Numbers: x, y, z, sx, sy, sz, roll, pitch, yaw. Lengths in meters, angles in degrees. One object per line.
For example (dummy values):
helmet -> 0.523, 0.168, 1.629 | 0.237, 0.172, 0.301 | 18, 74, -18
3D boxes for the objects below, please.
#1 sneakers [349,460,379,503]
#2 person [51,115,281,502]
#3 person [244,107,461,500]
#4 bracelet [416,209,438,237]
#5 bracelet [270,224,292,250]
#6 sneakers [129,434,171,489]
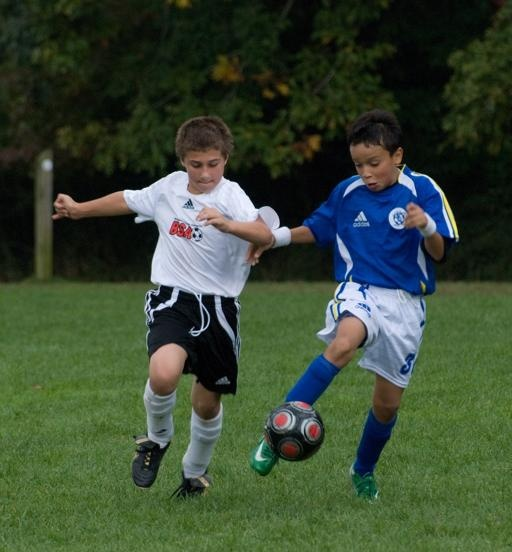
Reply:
sneakers -> 0.532, 1.013, 4.953 | 0.062, 0.075, 0.188 | -3, 47, -16
person -> -0.322, 0.089, 4.929 | 0.724, 1.706, 0.733 | -4, 10, -19
person -> 0.427, 0.144, 4.866 | 1.118, 1.877, 1.108 | 1, -7, 18
bracelet -> 0.795, -0.240, 4.668 | 0.074, 0.139, 0.249 | 1, 11, 13
bracelet -> 0.126, -0.191, 4.974 | 0.076, 0.102, 0.081 | -6, 14, -27
sneakers -> -0.519, 0.890, 4.838 | 0.110, 0.279, 0.107 | 19, -32, -23
